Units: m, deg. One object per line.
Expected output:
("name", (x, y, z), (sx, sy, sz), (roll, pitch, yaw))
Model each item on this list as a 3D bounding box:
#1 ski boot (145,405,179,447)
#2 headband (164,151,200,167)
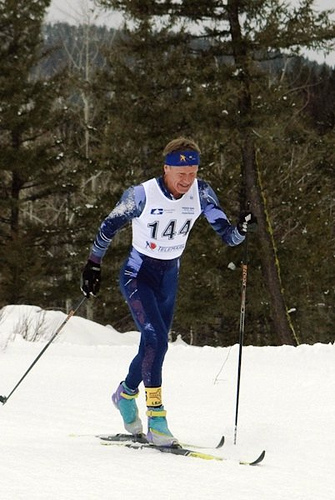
("ski boot", (-0.032, 1.007, 3.627), (0.120, 0.217, 0.314), (4, -7, -28))
("headband", (0.084, -0.553, 3.860), (0.141, 0.057, 0.117), (0, 6, 9))
